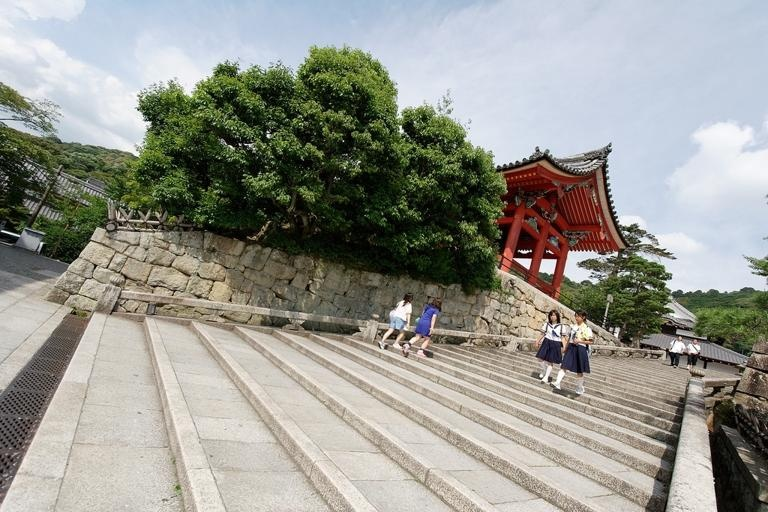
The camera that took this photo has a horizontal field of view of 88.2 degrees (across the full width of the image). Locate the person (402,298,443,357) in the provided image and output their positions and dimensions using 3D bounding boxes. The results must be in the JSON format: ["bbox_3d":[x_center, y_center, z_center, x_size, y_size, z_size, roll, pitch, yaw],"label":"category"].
[{"bbox_3d":[0.966,1.891,10.320,0.552,1.523,1.439,16,-10,7],"label":"person"}]

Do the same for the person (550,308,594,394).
[{"bbox_3d":[4.144,2.093,8.613,0.640,1.843,1.311,12,-11,27],"label":"person"}]

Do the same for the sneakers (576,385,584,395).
[{"bbox_3d":[3.965,2.723,8.047,0.121,0.141,0.355,-20,-35,33],"label":"sneakers"}]
